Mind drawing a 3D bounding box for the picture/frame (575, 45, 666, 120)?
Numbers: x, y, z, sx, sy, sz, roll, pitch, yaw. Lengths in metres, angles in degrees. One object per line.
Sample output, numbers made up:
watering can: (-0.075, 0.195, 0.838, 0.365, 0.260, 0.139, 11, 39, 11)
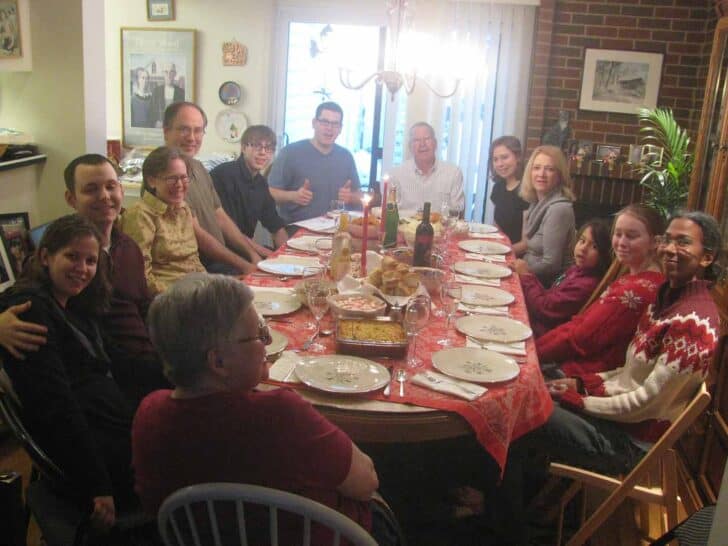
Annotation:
picture/frame: (2.496, -1.858, 5.407, 0.799, 0.637, 0.031, 4, 16, 6)

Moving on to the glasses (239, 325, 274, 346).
glasses: (-0.264, 0.162, 1.415, 0.060, 0.019, 0.058, -2, 15, -4)

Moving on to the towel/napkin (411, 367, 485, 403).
towel/napkin: (0.278, 0.342, 1.818, 0.165, 0.027, 0.097, 14, 13, 28)

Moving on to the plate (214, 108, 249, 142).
plate: (-1.343, -1.488, 5.654, 0.345, 0.346, 0.069, 10, 21, 4)

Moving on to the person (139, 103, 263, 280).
person: (-1.085, -0.564, 3.708, 0.671, 0.962, 0.562, 9, -13, -31)

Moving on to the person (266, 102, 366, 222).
person: (-0.351, -0.775, 4.740, 0.862, 1.199, 0.667, -4, 23, -25)

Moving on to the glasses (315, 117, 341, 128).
glasses: (-0.297, -1.232, 4.624, 0.205, 0.067, 0.058, 0, 17, -4)

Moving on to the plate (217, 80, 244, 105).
plate: (-1.333, -1.783, 5.582, 0.226, 0.224, 0.054, 11, 15, 7)

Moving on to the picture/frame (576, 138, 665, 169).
picture/frame: (2.454, -1.142, 5.471, 0.793, 0.253, 0.232, 6, 18, 16)

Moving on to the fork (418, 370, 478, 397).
fork: (0.255, 0.360, 1.824, 0.133, 0.021, 0.078, 17, 16, 30)

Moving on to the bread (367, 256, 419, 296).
bread: (0.125, 0.018, 2.369, 0.170, 0.069, 0.171, 27, 36, 24)

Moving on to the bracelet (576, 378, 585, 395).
bracelet: (0.906, 0.475, 2.358, 0.042, 0.047, 0.053, 3, 23, 7)

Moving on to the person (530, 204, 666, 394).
person: (1.114, 0.076, 2.661, 0.612, 0.772, 0.470, 9, 22, 35)
